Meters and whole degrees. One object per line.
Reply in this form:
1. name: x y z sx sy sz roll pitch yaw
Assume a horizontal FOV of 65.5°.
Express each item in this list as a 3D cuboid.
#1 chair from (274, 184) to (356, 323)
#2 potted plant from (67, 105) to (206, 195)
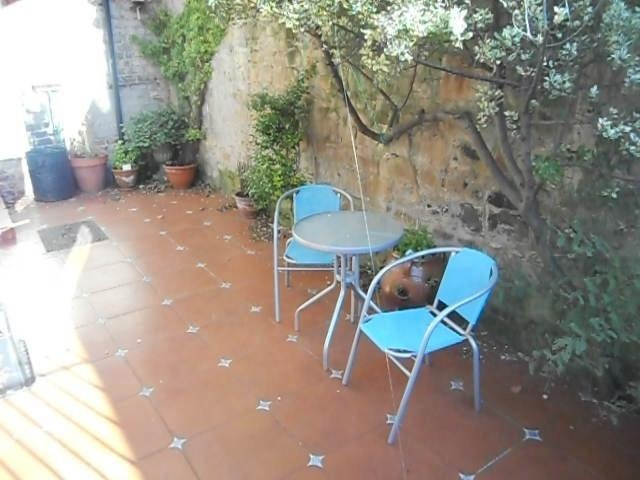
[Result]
1. chair: -0.027 0.144 4.053 0.727 1.316 0.881 -1 27 -5
2. potted plant: -2.394 -1.321 7.295 1.490 1.129 0.671 3 20 19
